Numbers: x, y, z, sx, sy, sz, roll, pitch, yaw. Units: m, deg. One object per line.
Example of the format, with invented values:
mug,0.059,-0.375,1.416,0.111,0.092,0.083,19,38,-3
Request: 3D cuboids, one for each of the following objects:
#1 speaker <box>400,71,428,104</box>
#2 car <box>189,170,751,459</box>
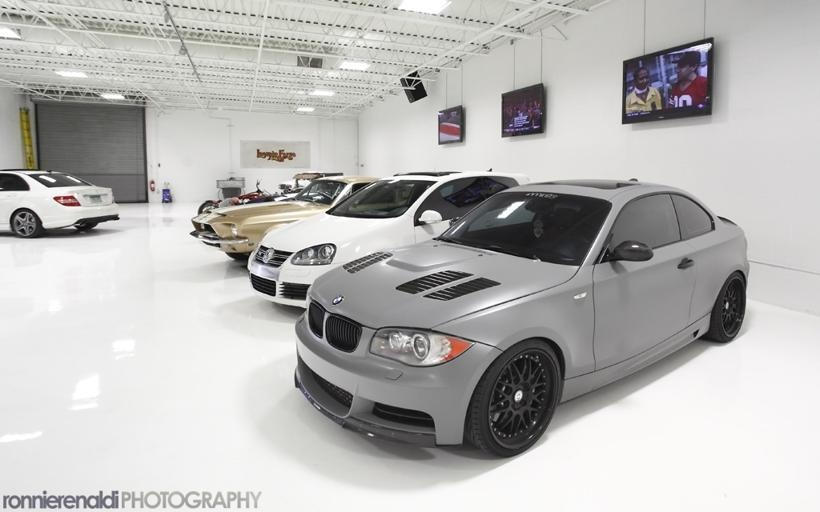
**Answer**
speaker,0.122,-5.591,13.468,0.912,0.834,0.927,1,14,2
car,1.088,0.252,3.433,3.596,1.104,1.892,-7,14,-26
